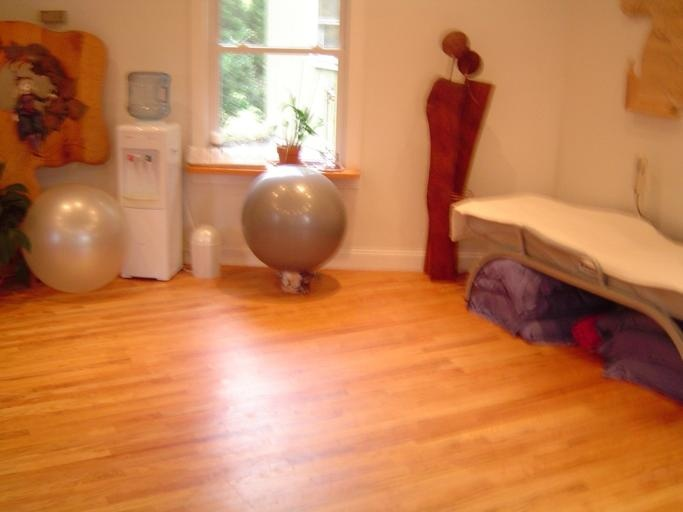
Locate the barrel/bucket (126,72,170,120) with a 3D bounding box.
[{"bbox_3d":[-1.335,-1.115,3.829,0.349,0.365,0.336,3,15,-1],"label":"barrel/bucket"}]

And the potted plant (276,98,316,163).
[{"bbox_3d":[-0.318,-0.914,3.943,0.287,0.463,0.316,2,18,-4],"label":"potted plant"}]
